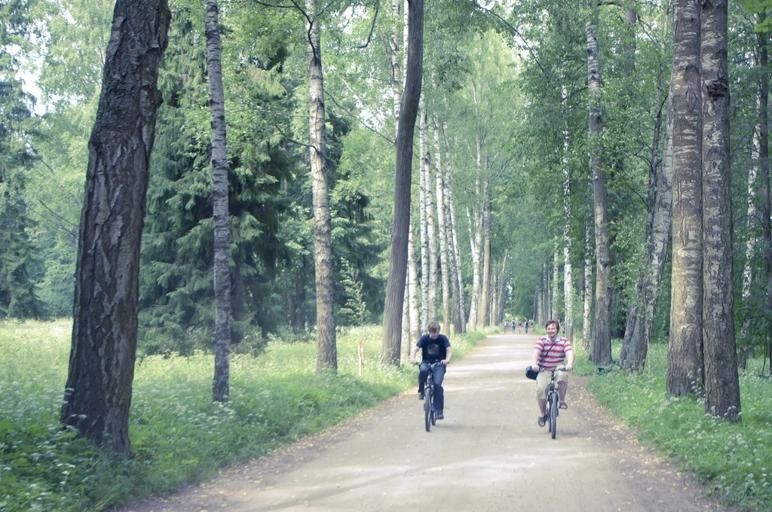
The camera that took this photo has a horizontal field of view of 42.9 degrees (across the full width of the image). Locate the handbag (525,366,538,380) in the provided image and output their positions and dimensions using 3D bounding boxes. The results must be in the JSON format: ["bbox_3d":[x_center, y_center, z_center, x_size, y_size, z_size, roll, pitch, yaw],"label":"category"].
[{"bbox_3d":[4.304,3.433,28.861,0.433,0.472,0.267,14,-14,-27],"label":"handbag"}]

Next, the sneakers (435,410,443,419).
[{"bbox_3d":[1.553,4.684,29.055,0.213,0.243,0.237,-1,-3,20],"label":"sneakers"}]
